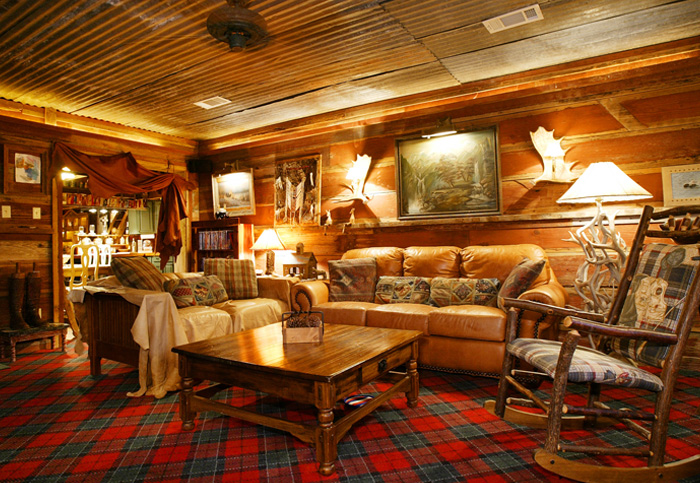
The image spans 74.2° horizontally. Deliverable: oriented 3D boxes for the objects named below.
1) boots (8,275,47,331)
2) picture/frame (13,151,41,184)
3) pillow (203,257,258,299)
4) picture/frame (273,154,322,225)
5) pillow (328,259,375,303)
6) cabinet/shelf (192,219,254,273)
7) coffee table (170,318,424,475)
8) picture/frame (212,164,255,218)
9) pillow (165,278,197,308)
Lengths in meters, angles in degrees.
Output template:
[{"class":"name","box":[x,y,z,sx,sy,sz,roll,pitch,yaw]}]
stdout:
[{"class":"boots","box":[-3.745,0.674,5.312,0.364,0.604,0.534,-11,17,-29]},{"class":"picture/frame","box":[-3.897,-0.858,5.574,0.085,0.370,0.325,5,16,25]},{"class":"pillow","box":[-1.382,0.424,5.398,0.621,0.450,0.506,2,-2,-11]},{"class":"picture/frame","box":[-0.721,-0.714,6.572,1.322,1.074,0.066,1,0,32]},{"class":"pillow","box":[0.030,0.471,5.229,0.596,0.433,0.172,-2,-28,5]},{"class":"cabinet/shelf","box":[-1.790,0.048,6.612,1.029,0.750,0.374,-2,-5,26]},{"class":"coffee table","box":[-0.162,0.930,3.444,1.310,0.428,1.273,-2,-4,33]},{"class":"picture/frame","box":[-1.779,-0.750,7.148,1.103,0.801,0.082,1,3,26]},{"class":"pillow","box":[-1.650,0.503,4.548,0.316,0.253,0.141,-9,-12,-43]}]
